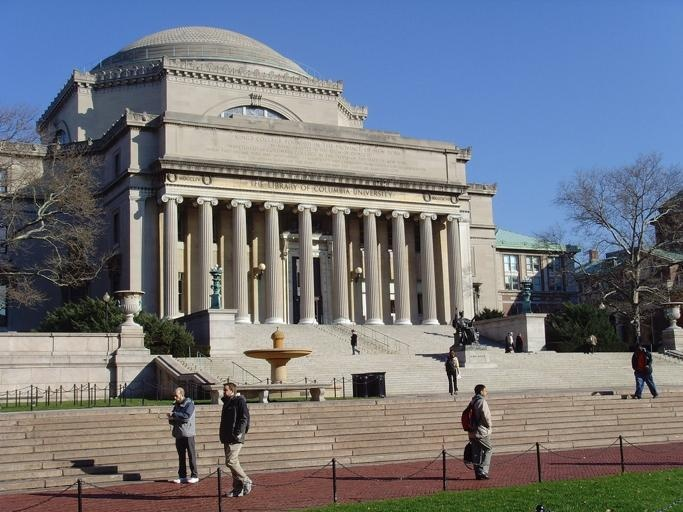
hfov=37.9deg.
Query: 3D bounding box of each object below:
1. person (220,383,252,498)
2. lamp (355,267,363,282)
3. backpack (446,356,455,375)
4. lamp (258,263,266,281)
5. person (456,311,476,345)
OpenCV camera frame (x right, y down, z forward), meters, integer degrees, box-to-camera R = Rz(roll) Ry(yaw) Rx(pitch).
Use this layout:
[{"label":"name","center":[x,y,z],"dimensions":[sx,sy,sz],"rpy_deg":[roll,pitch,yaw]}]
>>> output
[{"label":"person","center":[-2.962,5.227,28.158],"dimensions":[0.879,3.210,0.710],"rpy_deg":[-3,-10,10]},{"label":"lamp","center":[1.067,1.280,65.185],"dimensions":[0.468,0.955,0.958],"rpy_deg":[0,-9,-4]},{"label":"backpack","center":[4.561,4.658,41.743],"dimensions":[0.458,0.608,0.272],"rpy_deg":[0,-8,19]},{"label":"lamp","center":[-5.035,0.931,62.433],"dimensions":[0.378,1.085,1.380],"rpy_deg":[1,-9,-10]},{"label":"person","center":[6.231,3.701,50.029],"dimensions":[0.898,1.752,1.441],"rpy_deg":[-1,-9,-1]}]
